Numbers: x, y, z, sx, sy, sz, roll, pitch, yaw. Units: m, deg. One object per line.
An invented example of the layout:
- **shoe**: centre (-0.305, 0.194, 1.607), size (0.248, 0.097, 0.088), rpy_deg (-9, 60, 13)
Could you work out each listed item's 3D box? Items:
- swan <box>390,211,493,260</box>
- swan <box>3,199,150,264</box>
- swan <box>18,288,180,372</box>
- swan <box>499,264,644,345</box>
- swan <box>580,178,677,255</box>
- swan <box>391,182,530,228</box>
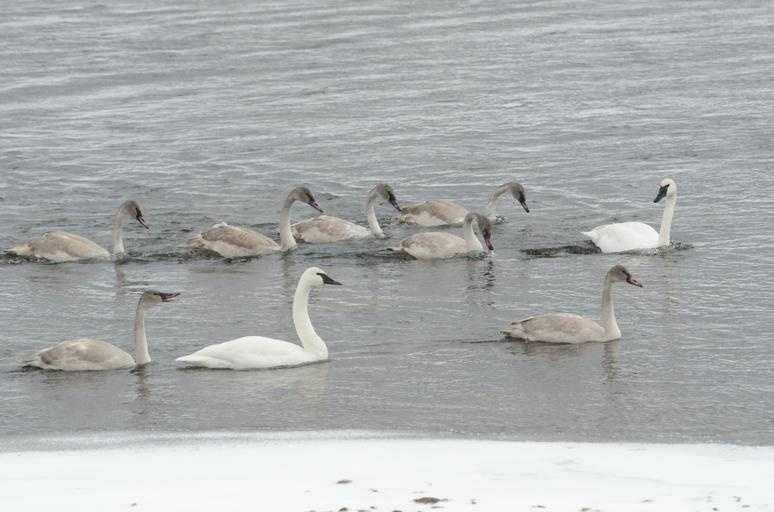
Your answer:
- **swan**: centre (1.763, -0.612, 32.480), size (2.939, 1.451, 0.630), rpy_deg (0, 21, 3)
- **swan**: centre (-9.585, -0.716, 32.064), size (3.914, 1.764, 0.953), rpy_deg (-4, 20, -12)
- **swan**: centre (-6.750, 1.780, 24.271), size (3.298, 1.729, 0.730), rpy_deg (-4, 21, -12)
- **swan**: centre (4.471, 1.326, 25.892), size (3.032, 1.521, 1.088), rpy_deg (-2, 19, -2)
- **swan**: centre (7.672, -1.216, 32.585), size (2.570, 2.192, 1.474), rpy_deg (-2, 19, 0)
- **swan**: centre (3.150, -1.674, 36.251), size (6.180, 1.567, 1.317), rpy_deg (3, 36, -1)
